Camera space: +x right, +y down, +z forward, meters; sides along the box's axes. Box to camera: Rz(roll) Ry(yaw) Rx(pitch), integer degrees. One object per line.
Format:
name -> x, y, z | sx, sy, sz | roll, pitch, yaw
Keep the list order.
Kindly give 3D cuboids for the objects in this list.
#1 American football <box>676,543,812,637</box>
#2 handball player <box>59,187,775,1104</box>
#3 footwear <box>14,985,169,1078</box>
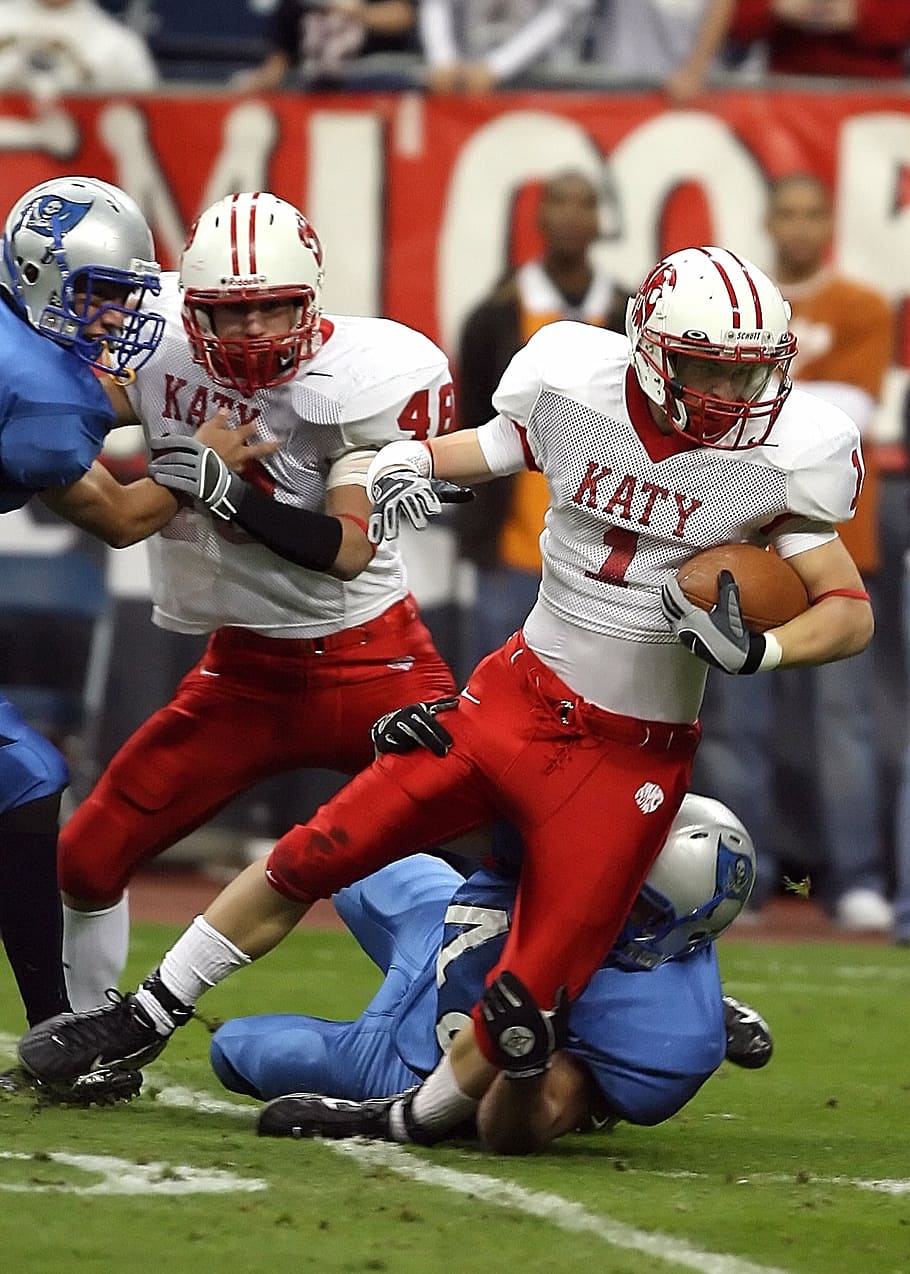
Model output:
American football -> 0.398, -0.082, 1.870 | 0.190, 0.112, 0.163 | 13, 22, 41
handball player -> -0.154, 0.085, 2.449 | 1.604, 1.540, 0.813 | 1, -6, -6
footwear -> -0.551, 0.611, 2.083 | 0.255, 0.107, 0.085 | 0, 6, -1
